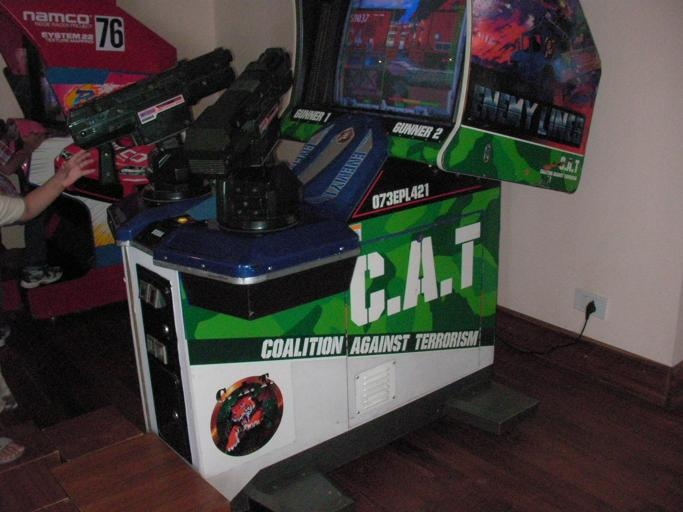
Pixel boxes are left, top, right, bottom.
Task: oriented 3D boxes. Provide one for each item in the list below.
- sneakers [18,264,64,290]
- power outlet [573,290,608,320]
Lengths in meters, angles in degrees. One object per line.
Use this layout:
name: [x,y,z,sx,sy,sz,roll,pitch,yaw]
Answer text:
sneakers: [-1.974,0.129,3.571,0.257,0.111,0.115,-20,30,-37]
power outlet: [1.366,0.261,2.939,0.007,0.112,0.145,-5,20,-35]
